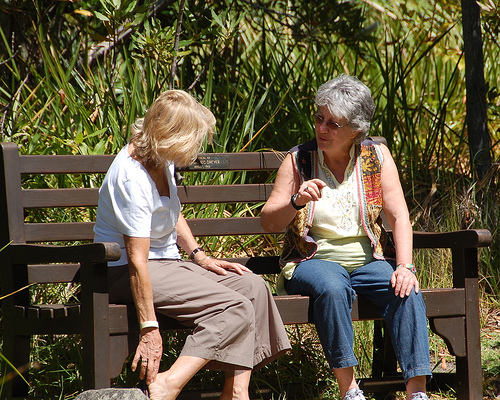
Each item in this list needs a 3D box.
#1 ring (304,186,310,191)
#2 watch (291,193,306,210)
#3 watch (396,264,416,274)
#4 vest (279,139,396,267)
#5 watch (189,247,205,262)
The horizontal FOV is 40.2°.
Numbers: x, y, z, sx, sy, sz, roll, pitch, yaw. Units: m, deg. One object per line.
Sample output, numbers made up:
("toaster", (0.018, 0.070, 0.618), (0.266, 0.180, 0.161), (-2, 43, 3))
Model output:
("ring", (0.282, -0.055, 3.374), (0.025, 0.024, 0.013), (0, 2, 42))
("watch", (0.243, 0.009, 3.439), (0.070, 0.082, 0.062), (-1, 2, 8))
("watch", (0.801, 0.340, 3.455), (0.058, 0.067, 0.061), (3, 2, -33))
("vest", (0.489, 0.019, 3.696), (0.598, 0.701, 0.409), (-2, 9, 9))
("watch", (-0.273, 0.285, 3.579), (0.019, 0.067, 0.062), (42, 39, 23))
